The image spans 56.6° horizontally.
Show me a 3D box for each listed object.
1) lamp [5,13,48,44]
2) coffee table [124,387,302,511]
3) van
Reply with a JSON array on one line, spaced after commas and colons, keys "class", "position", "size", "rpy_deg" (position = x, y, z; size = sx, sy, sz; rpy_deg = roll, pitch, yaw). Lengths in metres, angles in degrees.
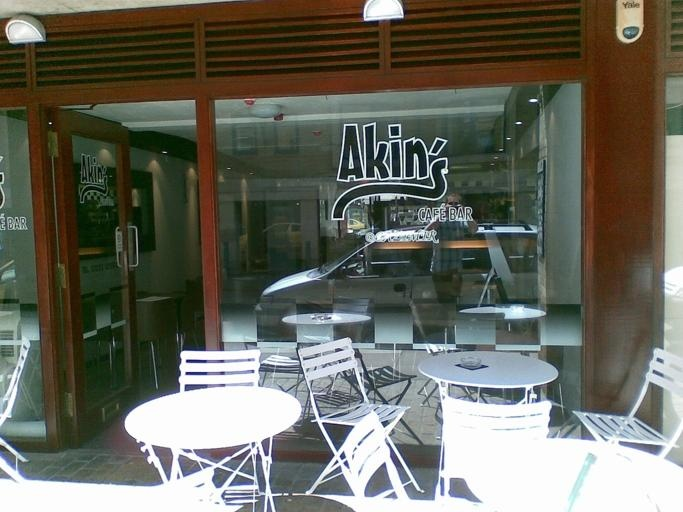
[{"class": "lamp", "position": [-2.531, -1.811, 5.092], "size": [0.246, 0.198, 0.239], "rpy_deg": [0, 1, 7]}, {"class": "coffee table", "position": [-0.899, 1.279, 4.200], "size": [1.057, 0.644, 1.053], "rpy_deg": [-5, 4, -37]}, {"class": "van", "position": [0.449, 0.135, 5.111], "size": [2.216, 0.712, 0.790], "rpy_deg": [0, 8, 2]}]
